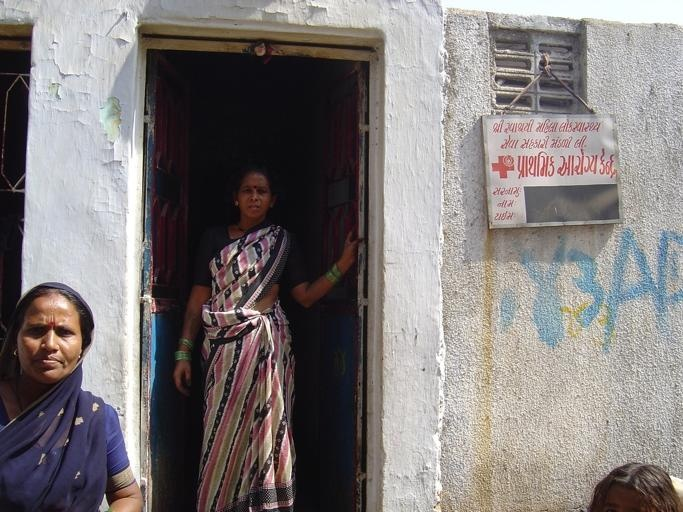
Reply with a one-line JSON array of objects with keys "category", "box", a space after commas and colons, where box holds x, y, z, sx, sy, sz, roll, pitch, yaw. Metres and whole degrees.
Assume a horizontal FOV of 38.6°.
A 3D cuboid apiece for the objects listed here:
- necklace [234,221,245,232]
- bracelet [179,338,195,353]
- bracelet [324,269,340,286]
[{"category": "necklace", "box": [-0.598, -0.164, 5.780, 0.044, 0.065, 0.034, -7, -36, -24]}, {"category": "bracelet", "box": [-0.887, 0.522, 5.596, 0.071, 0.060, 0.074, 15, -27, -18]}, {"category": "bracelet", "box": [-0.052, 0.125, 5.547, 0.063, 0.091, 0.060, 2, 5, 16]}]
